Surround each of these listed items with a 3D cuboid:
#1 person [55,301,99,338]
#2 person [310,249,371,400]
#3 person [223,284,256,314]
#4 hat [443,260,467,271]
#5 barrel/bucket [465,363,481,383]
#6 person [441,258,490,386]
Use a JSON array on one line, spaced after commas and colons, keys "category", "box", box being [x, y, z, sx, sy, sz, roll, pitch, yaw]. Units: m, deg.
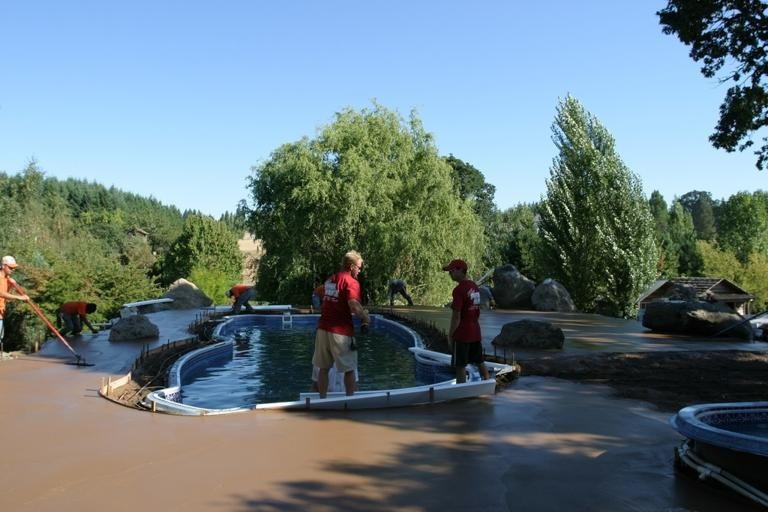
[{"category": "person", "box": [-9.888, 2.006, 18.778, 0.904, 1.441, 3.274, -4, 6, -31]}, {"category": "person", "box": [-0.747, 1.170, 9.806, 0.886, 2.364, 0.842, -1, 6, -8]}, {"category": "person", "box": [-5.953, 1.782, 24.462, 0.978, 1.256, 2.160, -1, 5, -10]}, {"category": "hat", "box": [1.281, 0.119, 10.503, 0.394, 0.229, 0.265, -2, -6, 7]}, {"category": "barrel/bucket", "box": [1.722, 2.275, 11.329, 0.239, 0.313, 0.310, 7, -13, -36]}, {"category": "person", "box": [1.435, 1.193, 10.408, 0.616, 2.236, 0.828, 4, 7, 36]}]
